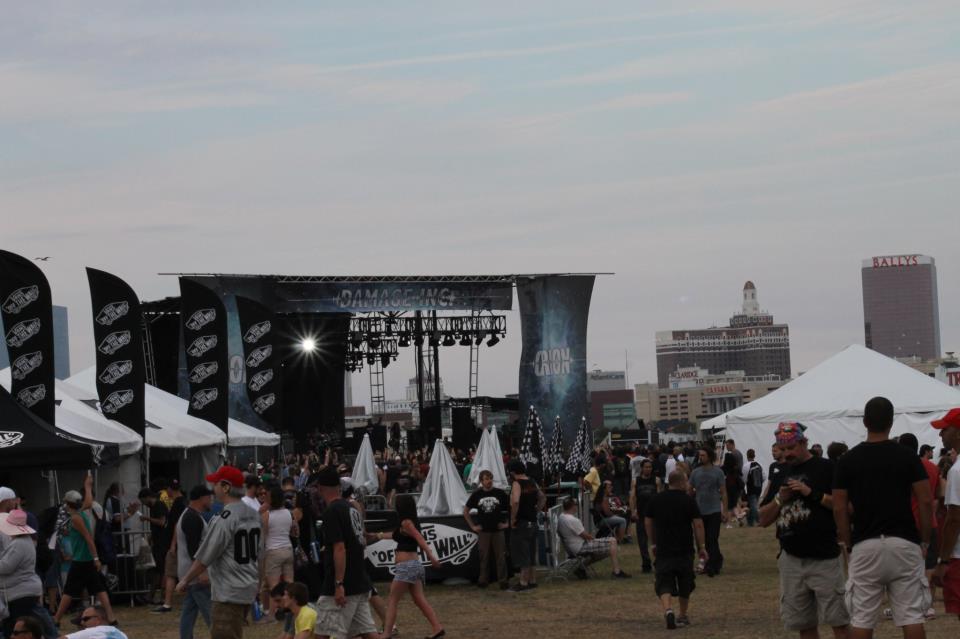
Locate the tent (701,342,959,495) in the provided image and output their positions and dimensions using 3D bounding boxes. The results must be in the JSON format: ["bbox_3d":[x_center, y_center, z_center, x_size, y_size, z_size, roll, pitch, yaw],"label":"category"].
[{"bbox_3d":[8.217,2.002,42.906,5.987,2.390,5.709,-3,-3,14],"label":"tent"}]

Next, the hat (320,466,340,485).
[{"bbox_3d":[-2.186,2.291,26.183,0.237,0.247,0.269,2,13,-3],"label":"hat"}]

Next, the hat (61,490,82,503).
[{"bbox_3d":[-6.744,2.948,29.824,0.260,0.187,0.540,0,-5,-12],"label":"hat"}]

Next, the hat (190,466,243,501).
[{"bbox_3d":[-3.879,2.477,26.887,0.991,0.461,0.614,2,8,27],"label":"hat"}]
